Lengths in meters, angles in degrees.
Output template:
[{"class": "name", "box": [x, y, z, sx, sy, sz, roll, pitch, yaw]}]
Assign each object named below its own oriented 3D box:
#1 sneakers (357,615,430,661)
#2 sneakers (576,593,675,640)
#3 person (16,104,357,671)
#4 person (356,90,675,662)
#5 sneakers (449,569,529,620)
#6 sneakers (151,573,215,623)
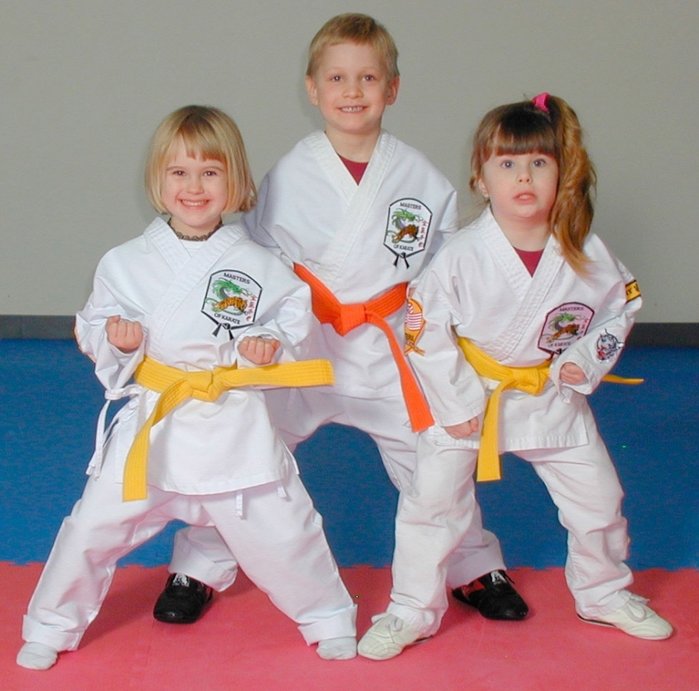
[{"class": "sneakers", "box": [0.083, 0.653, 1.904, 0.110, 0.061, 0.209, 8, 10, 9]}, {"class": "sneakers", "box": [0.637, 0.635, 1.961, 0.247, 0.064, 0.078, 6, 26, 22]}, {"class": "person", "box": [-0.362, 0.071, 1.851, 0.755, 1.219, 0.513, 0, 17, -8]}, {"class": "person", "box": [0.423, 0.057, 1.897, 0.728, 1.267, 0.536, 3, 17, 1]}, {"class": "sneakers", "box": [0.374, 0.617, 2.081, 0.125, 0.080, 0.273, -13, 3, -3]}, {"class": "sneakers", "box": [-0.417, 0.596, 2.012, 0.131, 0.068, 0.209, 13, 21, -5]}]
